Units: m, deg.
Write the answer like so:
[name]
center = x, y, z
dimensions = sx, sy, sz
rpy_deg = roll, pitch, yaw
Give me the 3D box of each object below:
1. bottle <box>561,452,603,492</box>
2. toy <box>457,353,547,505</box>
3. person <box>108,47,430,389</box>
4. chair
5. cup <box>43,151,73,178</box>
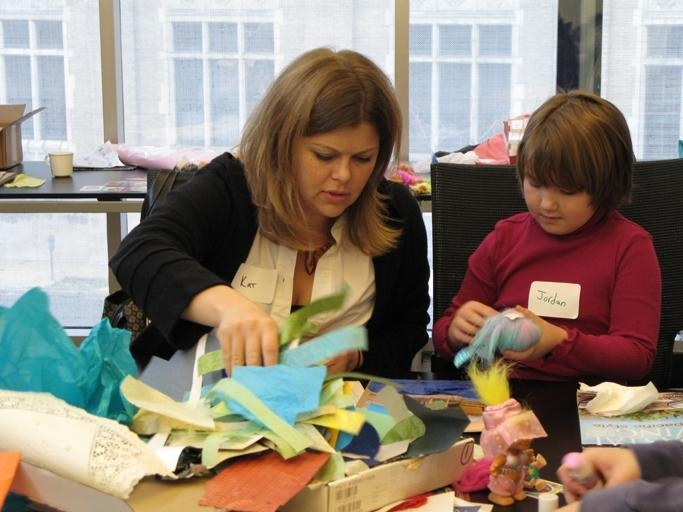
[bottle]
center = 0.317, 0.282, 0.771
dimensions = 0.059, 0.048, 0.030
rpy_deg = -4, 6, -26
[toy]
center = 0.266, 0.265, 0.940
dimensions = 0.123, 0.159, 0.246
rpy_deg = 0, 5, 14
[person]
center = -0.110, -0.098, 1.402
dimensions = 0.540, 0.801, 0.780
rpy_deg = 3, 7, 40
[chair]
center = 0.562, -0.018, 1.911
dimensions = 0.562, 0.995, 0.699
rpy_deg = 1, 7, 7
[cup]
center = -1.268, -0.421, 2.686
dimensions = 0.109, 0.112, 0.135
rpy_deg = 0, 0, 42
